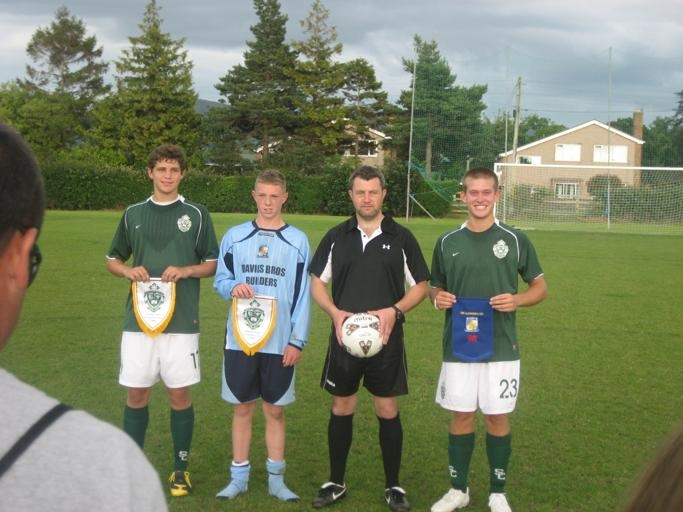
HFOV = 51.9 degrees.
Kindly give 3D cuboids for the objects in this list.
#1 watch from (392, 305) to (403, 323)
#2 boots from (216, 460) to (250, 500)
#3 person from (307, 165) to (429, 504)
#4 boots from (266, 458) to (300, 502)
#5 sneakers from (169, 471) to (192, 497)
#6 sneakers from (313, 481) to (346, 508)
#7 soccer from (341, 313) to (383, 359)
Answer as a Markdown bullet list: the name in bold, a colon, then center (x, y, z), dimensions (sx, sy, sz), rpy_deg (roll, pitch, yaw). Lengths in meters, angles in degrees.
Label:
- **watch**: center (0.396, 0.411, 5.018), dimensions (0.061, 0.095, 0.083), rpy_deg (-21, 48, -33)
- **boots**: center (-0.766, 1.576, 4.951), dimensions (0.121, 0.227, 0.301), rpy_deg (-9, -10, 32)
- **person**: center (0.199, 0.505, 5.174), dimensions (0.867, 2.274, 1.090), rpy_deg (1, 8, -3)
- **boots**: center (-0.421, 1.585, 4.964), dimensions (0.111, 0.246, 0.337), rpy_deg (2, 2, -40)
- **sneakers**: center (-1.121, 1.588, 4.891), dimensions (0.100, 0.086, 0.194), rpy_deg (0, -2, -14)
- **sneakers**: center (-0.080, 1.645, 4.876), dimensions (0.094, 0.102, 0.254), rpy_deg (9, 7, 39)
- **soccer**: center (0.148, 0.556, 5.021), dimensions (0.306, 0.303, 0.399), rpy_deg (-5, 18, -7)
